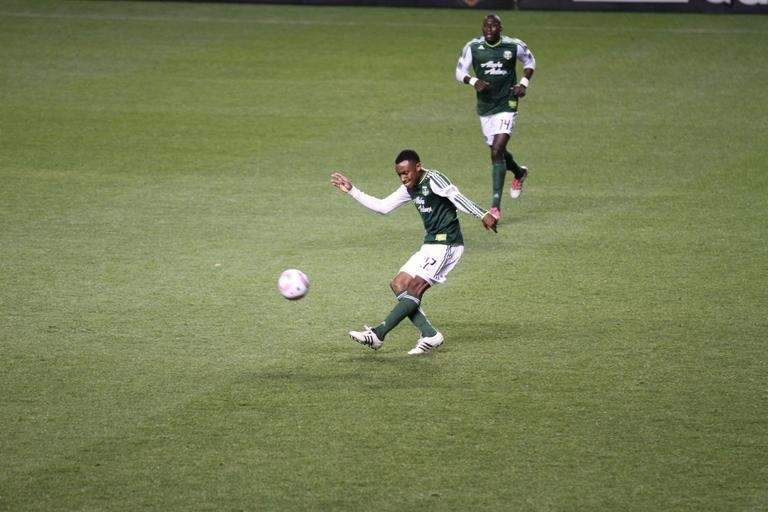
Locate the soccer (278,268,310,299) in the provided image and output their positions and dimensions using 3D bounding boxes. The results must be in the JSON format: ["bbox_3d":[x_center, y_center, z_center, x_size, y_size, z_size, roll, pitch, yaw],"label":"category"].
[{"bbox_3d":[-1.174,0.344,15.318,0.457,0.351,0.358,-4,43,-14],"label":"soccer"}]

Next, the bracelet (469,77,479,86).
[{"bbox_3d":[1.373,-2.610,18.536,0.163,0.125,0.176,1,1,-23],"label":"bracelet"}]

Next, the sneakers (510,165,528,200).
[{"bbox_3d":[2.074,-1.154,19.378,0.220,0.582,0.297,21,14,26],"label":"sneakers"}]
